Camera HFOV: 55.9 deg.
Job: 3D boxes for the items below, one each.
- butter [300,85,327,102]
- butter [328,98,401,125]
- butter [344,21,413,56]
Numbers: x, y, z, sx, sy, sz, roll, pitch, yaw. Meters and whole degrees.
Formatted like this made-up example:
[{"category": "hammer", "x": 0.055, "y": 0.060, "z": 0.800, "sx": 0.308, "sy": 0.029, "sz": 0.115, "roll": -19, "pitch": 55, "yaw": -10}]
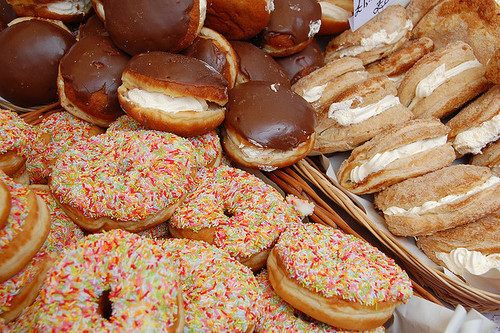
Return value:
[{"category": "butter", "x": 0.377, "y": -0.432, "z": 2.775, "sx": 0.095, "sy": 0.122, "sz": 0.044, "roll": 50, "pitch": 13, "yaw": 16}, {"category": "butter", "x": 0.638, "y": -0.330, "z": 2.672, "sx": 0.242, "sy": 0.085, "sz": 0.197, "roll": -17, "pitch": 15, "yaw": 5}, {"category": "butter", "x": 0.812, "y": -0.791, "z": 2.909, "sx": 0.267, "sy": 0.087, "sz": 0.214, "roll": -21, "pitch": 18, "yaw": 4}]
